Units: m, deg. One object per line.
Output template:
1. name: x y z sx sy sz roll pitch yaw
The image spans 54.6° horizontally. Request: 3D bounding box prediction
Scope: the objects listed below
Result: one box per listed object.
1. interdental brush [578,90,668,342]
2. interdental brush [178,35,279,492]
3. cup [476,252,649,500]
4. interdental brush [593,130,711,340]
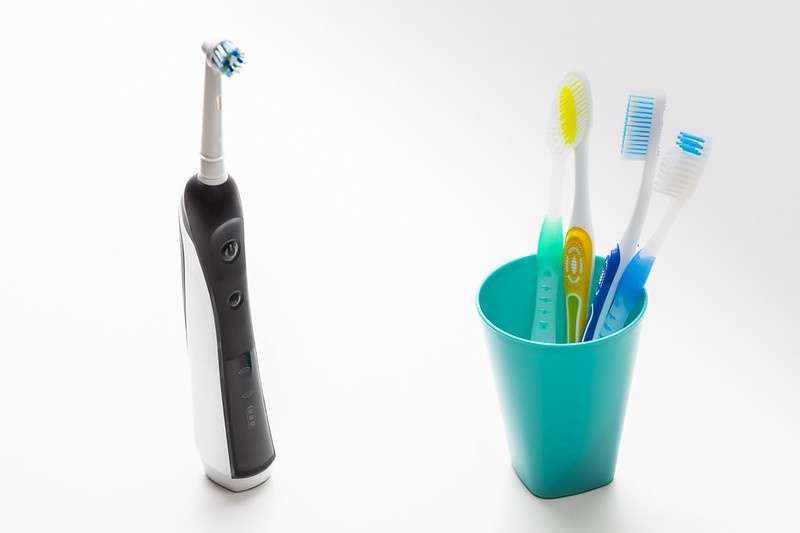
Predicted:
1. interdental brush: 0.356 -0.028 1.177 0.046 0.474 0.058 -21 30 -40
2. interdental brush: -0.267 0.033 1.151 0.150 0.708 0.092 -5 17 -4
3. cup: 0.264 0.194 1.251 0.282 0.309 0.277 -3 22 1
4. interdental brush: 0.369 -0.028 1.187 0.066 0.418 0.035 5 41 -6
